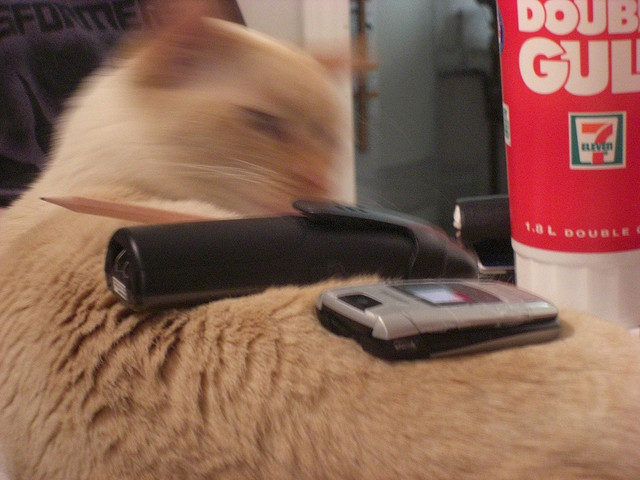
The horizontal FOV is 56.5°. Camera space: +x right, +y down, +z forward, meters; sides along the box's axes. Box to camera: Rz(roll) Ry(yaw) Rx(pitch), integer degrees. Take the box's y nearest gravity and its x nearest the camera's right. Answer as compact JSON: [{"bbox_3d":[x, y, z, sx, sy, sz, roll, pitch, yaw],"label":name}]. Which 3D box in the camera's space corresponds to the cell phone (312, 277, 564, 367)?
[{"bbox_3d":[0.070,0.036,0.347,0.092,0.020,0.064,-5,9,-26],"label":"cell phone"}]
